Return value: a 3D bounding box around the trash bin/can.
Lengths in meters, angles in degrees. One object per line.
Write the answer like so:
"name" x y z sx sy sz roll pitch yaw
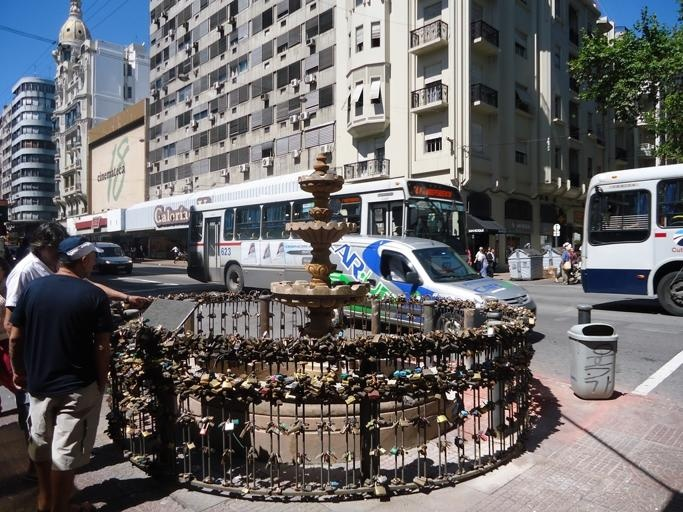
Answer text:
"trash bin/can" 3.882 1.628 10.615 0.696 1.183 0.462 -2 -2 15

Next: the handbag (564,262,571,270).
"handbag" 8.642 0.357 26.314 0.208 0.248 0.247 3 -2 -12

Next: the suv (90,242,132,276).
"suv" -10.759 0.156 31.847 1.745 1.885 3.570 -2 -1 -33

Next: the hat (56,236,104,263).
"hat" -3.088 -0.107 8.095 0.406 0.230 0.274 -13 16 -41

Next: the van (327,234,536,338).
"van" 1.585 0.534 14.344 3.976 1.743 1.903 -4 -3 44
